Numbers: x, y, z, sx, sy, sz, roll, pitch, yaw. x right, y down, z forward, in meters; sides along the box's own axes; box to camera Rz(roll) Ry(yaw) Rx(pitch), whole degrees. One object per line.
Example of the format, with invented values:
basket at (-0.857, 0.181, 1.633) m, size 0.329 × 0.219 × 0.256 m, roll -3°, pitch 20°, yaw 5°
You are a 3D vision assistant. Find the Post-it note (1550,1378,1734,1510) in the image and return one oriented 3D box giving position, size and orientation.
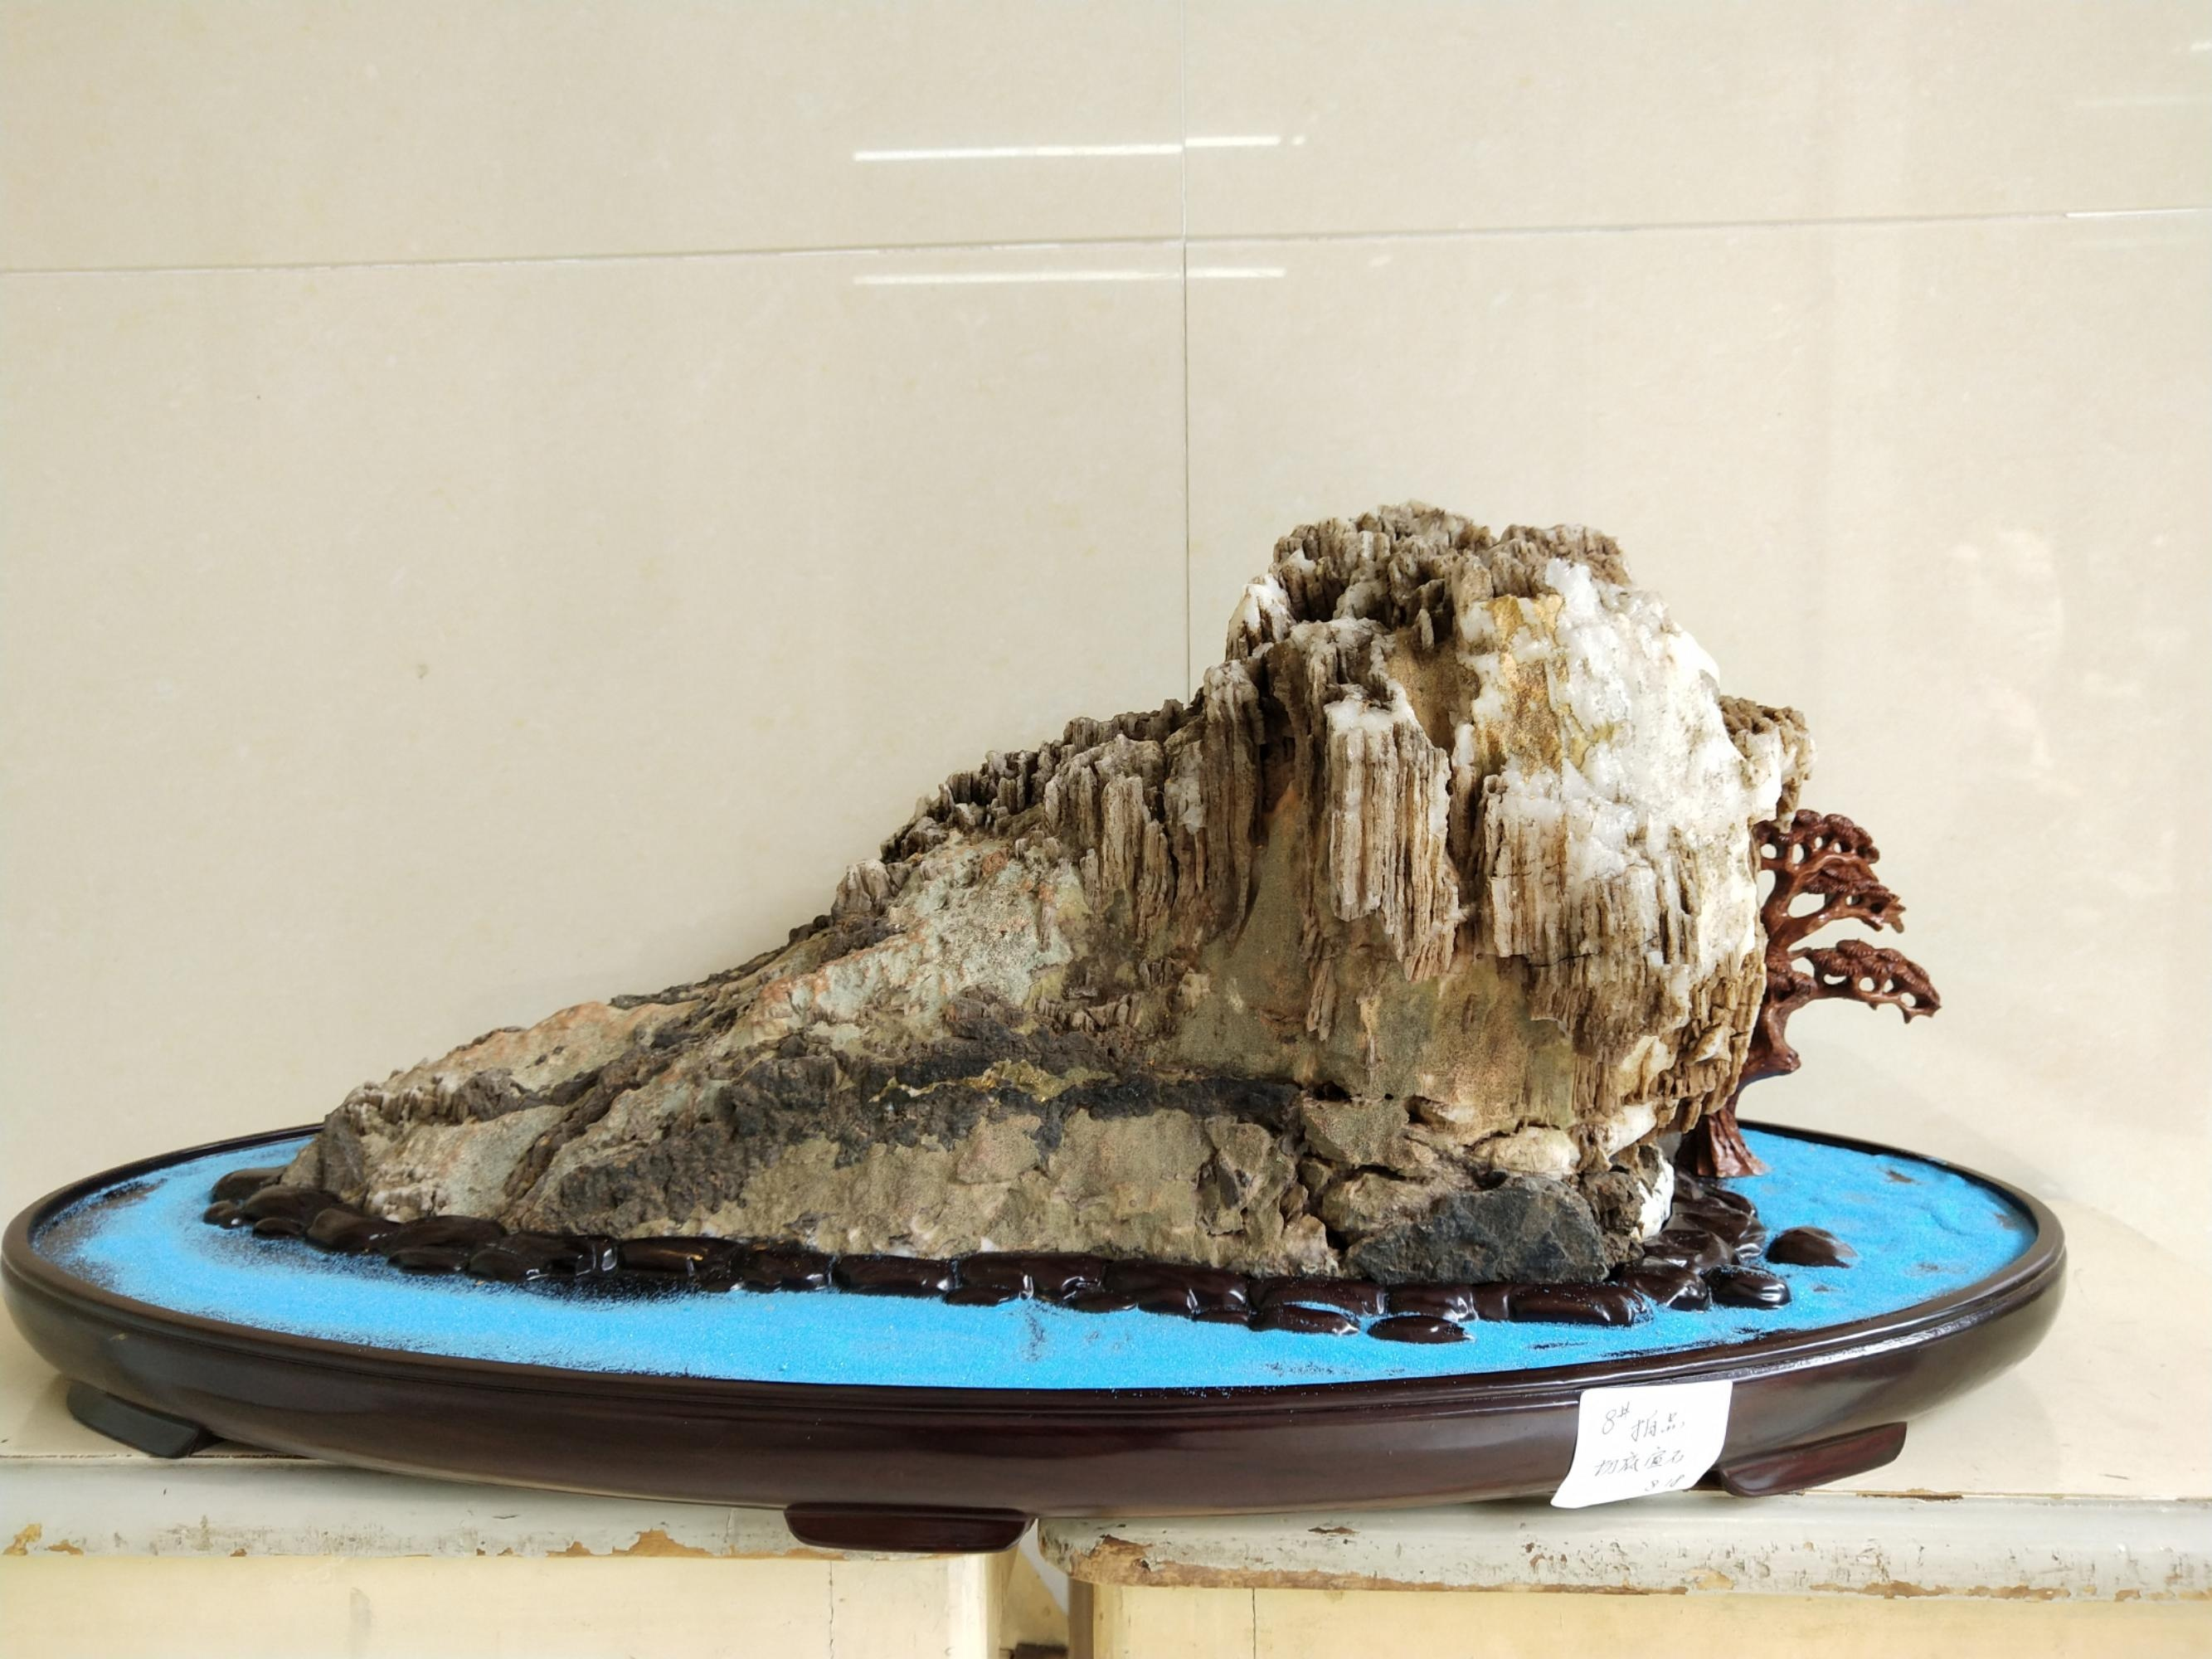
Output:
Post-it note at (0.588, 0.649, 5.317) m, size 0.180 × 0.125 × 0.222 m, roll 2°, pitch 14°, yaw -6°
